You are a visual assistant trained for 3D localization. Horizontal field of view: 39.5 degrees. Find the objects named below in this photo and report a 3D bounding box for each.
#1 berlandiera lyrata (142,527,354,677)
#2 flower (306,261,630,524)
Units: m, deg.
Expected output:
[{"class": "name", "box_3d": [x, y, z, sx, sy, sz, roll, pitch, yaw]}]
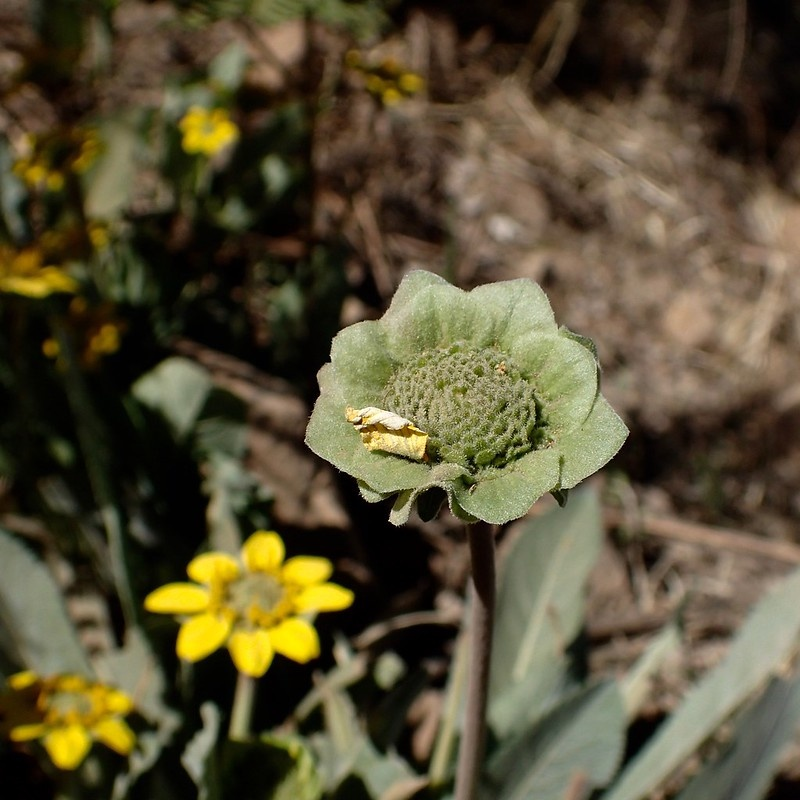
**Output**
[{"class": "berlandiera lyrata", "box_3d": [-0.297, 0.390, 2.192, 0.365, 0.047, 0.386, -10, 42, -17]}, {"class": "flower", "box_3d": [0.196, -0.037, 1.891, 0.575, 0.587, 0.227, 6, 73, -31]}]
